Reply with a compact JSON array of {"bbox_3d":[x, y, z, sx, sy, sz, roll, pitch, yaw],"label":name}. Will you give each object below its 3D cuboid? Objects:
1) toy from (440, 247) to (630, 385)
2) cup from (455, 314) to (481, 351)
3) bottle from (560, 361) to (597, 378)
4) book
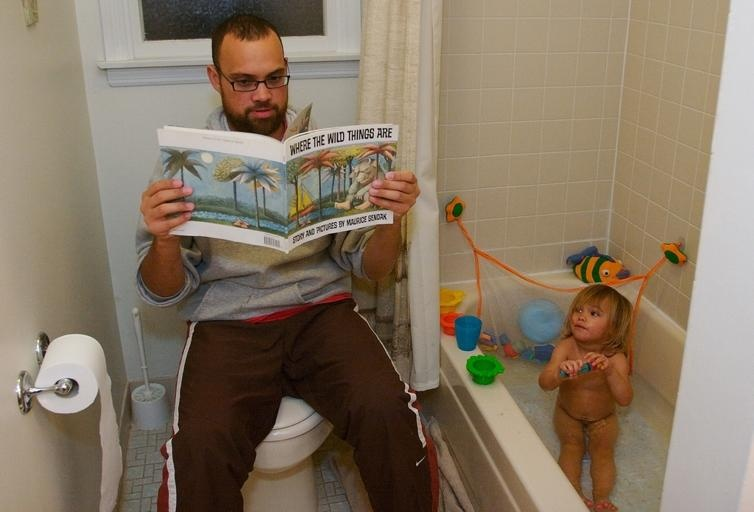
[{"bbox_3d":[0.646,0.159,2.331,0.542,0.367,0.587,-23,31,-35],"label":"toy"},{"bbox_3d":[0.341,0.288,2.174,0.105,0.104,0.117,12,21,24],"label":"cup"},{"bbox_3d":[0.670,0.355,1.854,0.131,0.039,0.042,-12,15,-16],"label":"bottle"},{"bbox_3d":[-0.269,-0.184,1.479,0.416,0.236,0.030,-4,32,-12],"label":"book"}]
